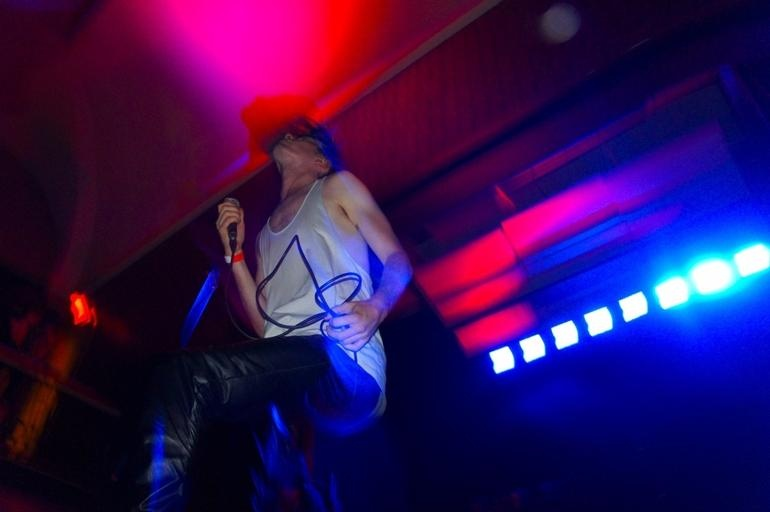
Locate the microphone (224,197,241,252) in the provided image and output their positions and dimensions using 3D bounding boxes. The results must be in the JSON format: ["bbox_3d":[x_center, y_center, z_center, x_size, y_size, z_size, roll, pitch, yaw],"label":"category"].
[{"bbox_3d":[-0.898,-0.182,3.561,0.065,0.307,0.035,-1,-14,2],"label":"microphone"}]
